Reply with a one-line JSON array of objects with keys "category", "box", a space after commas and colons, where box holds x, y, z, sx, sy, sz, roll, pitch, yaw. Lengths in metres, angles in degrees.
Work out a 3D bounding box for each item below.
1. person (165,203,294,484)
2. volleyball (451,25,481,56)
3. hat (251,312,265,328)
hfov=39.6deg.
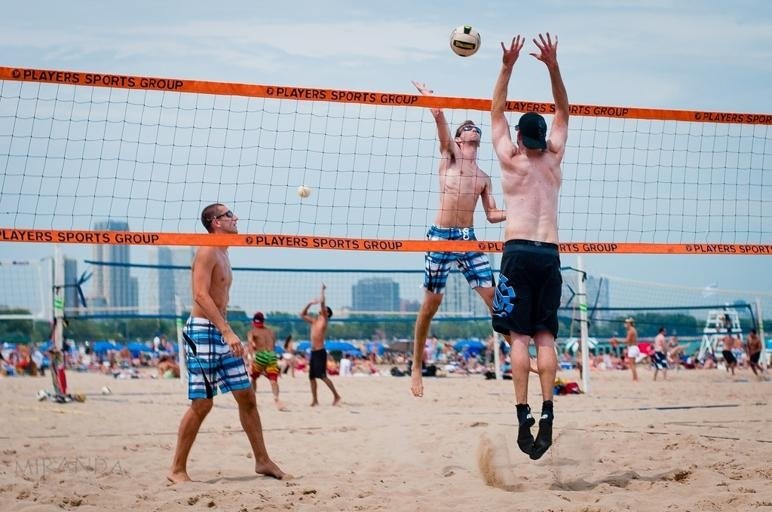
[{"category": "person", "box": [-1.894, 1.027, 12.810, 1.402, 3.250, 1.064, 1, -4, -29]}, {"category": "volleyball", "box": [1.011, -2.673, 13.499, 0.329, 0.365, 0.213, -2, 2, 3]}, {"category": "hat", "box": [-1.999, 1.018, 16.856, 0.197, 0.238, 0.241, 3, 3, -6]}]
